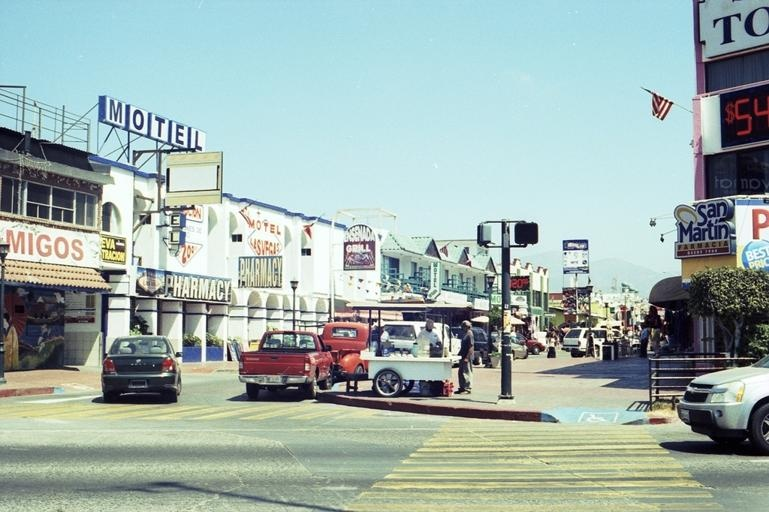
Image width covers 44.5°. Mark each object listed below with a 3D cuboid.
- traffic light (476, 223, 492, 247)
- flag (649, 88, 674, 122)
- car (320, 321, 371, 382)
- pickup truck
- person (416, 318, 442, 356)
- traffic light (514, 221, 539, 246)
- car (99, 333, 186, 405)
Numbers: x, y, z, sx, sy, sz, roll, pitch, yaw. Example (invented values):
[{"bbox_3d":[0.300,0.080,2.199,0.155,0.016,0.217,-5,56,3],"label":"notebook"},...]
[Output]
[{"bbox_3d":[3.167,-0.691,29.900,0.380,0.576,0.616,0,-9,-1],"label":"traffic light"},{"bbox_3d":[11.227,-6.190,38.238,0.651,1.477,2.041,-3,-9,18],"label":"flag"},{"bbox_3d":[-1.619,3.484,35.565,1.433,1.383,2.467,0,2,19],"label":"car"},{"bbox_3d":[-3.457,3.778,32.621,2.415,2.352,2.936,-2,-9,11],"label":"pickup truck"},{"bbox_3d":[1.531,2.732,31.631,0.878,1.283,0.993,-1,-9,4],"label":"person"},{"bbox_3d":[4.480,-0.691,29.558,0.667,0.843,0.610,-2,-9,16],"label":"traffic light"},{"bbox_3d":[-7.946,3.716,31.103,2.407,2.210,1.818,2,-9,-11],"label":"car"}]
